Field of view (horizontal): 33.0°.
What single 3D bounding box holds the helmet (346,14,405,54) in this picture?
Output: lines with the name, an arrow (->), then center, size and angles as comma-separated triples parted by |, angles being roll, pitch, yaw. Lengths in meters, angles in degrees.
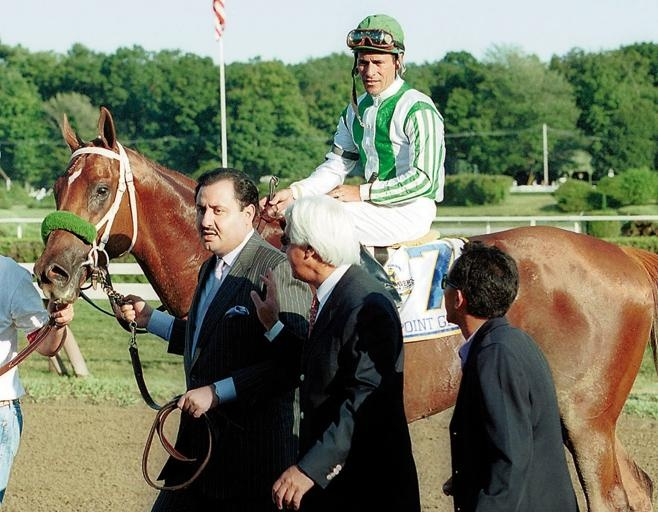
helmet -> 0.360, -1.694, 8.487 | 0.379, 0.290, 0.540 | 2, 15, 19

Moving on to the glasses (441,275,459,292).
glasses -> 0.767, 0.180, 7.108 | 0.087, 0.028, 0.086 | 23, 6, -13

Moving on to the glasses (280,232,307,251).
glasses -> -0.228, -0.088, 7.240 | 0.143, 0.047, 0.143 | 8, -2, -12

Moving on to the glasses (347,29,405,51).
glasses -> 0.350, -1.619, 8.385 | 0.427, 0.168, 0.131 | 1, 10, -1
